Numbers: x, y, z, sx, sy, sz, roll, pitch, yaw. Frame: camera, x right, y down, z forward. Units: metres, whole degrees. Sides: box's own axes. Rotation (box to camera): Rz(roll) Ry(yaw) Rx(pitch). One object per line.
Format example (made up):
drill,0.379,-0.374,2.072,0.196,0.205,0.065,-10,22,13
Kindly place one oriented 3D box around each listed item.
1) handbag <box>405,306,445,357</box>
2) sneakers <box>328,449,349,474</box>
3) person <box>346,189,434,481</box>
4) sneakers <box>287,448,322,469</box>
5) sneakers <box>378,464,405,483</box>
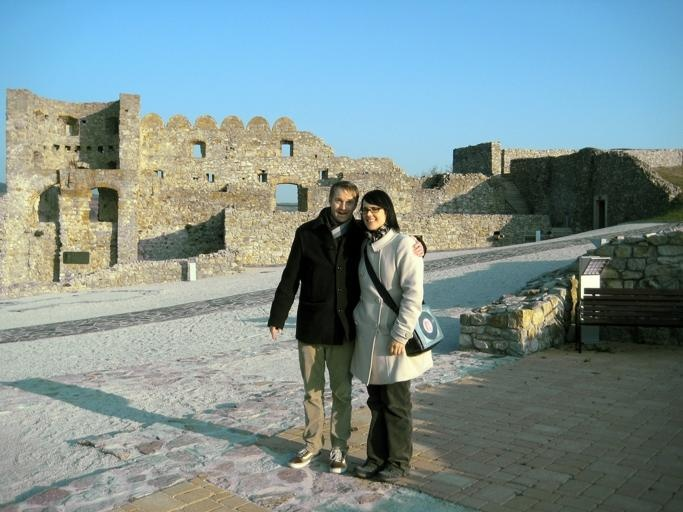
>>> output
handbag,0.724,0.635,5.078,0.218,0.411,0.337,3,9,31
sneakers,-0.020,1.733,5.174,0.157,0.181,0.224,-2,8,0
person,0.422,0.633,5.082,0.687,2.367,0.701,-2,8,0
sneakers,-0.302,1.757,5.204,0.107,0.100,0.301,38,18,27
sneakers,0.424,1.786,4.933,0.211,0.079,0.104,3,0,10
